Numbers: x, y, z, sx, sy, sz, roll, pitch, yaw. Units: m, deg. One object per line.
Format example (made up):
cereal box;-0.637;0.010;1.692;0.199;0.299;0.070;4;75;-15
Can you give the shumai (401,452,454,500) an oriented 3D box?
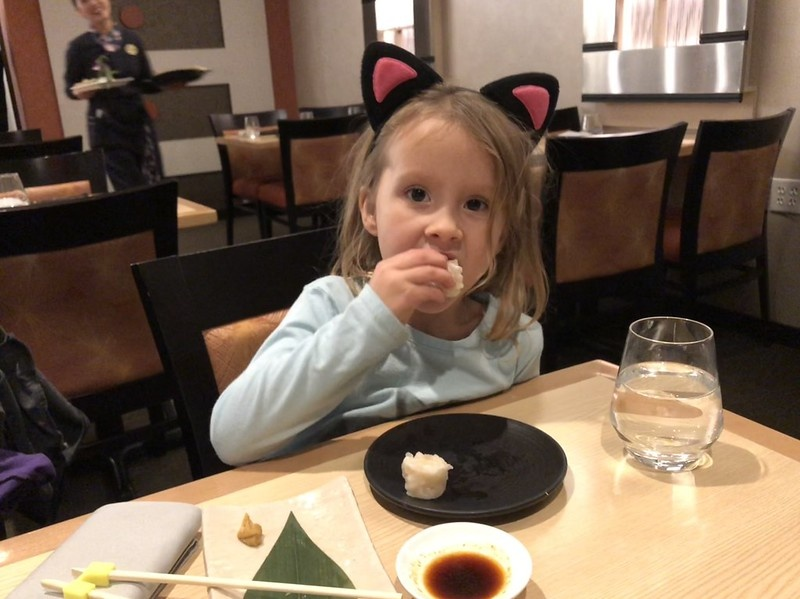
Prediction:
shumai;0.035;0.248;0.836;0.060;0.040;0.061;0;26;-8

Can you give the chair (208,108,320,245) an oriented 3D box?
chair;-1.128;-0.966;5.140;0.797;1.224;0.832;15;22;31
